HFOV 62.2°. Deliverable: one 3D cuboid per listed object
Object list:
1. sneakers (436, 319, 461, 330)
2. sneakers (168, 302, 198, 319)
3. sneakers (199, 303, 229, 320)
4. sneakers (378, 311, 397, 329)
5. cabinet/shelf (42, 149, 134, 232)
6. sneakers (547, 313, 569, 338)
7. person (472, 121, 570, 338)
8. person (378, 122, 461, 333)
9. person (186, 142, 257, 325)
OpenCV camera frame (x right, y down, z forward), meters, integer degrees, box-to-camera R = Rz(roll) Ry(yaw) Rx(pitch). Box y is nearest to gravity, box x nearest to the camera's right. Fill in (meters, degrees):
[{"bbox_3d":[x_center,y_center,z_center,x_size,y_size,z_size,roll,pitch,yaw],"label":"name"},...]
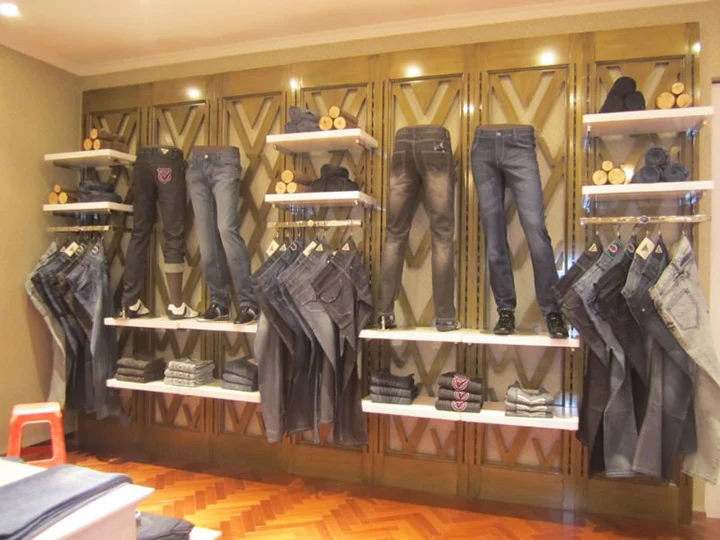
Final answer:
[{"bbox_3d":[0.715,0.440,4.811,0.178,0.085,0.082,-3,-1,-4],"label":"sneakers"},{"bbox_3d":[-1.646,0.374,5.552,0.127,0.115,0.251,1,3,38],"label":"sneakers"},{"bbox_3d":[-1.301,0.393,5.385,0.288,0.134,0.116,2,-2,-14],"label":"sneakers"},{"bbox_3d":[0.224,0.410,4.939,0.141,0.141,0.103,8,-10,-44],"label":"sneakers"},{"bbox_3d":[-2.660,-0.770,5.831,0.453,0.678,0.814,3,1,8],"label":"cabinet/shelf"},{"bbox_3d":[1.514,0.420,4.561,0.156,0.170,0.132,2,11,11],"label":"sneakers"},{"bbox_3d":[1.238,-0.320,4.680,0.795,1.603,0.418,5,11,26],"label":"person"},{"bbox_3d":[0.479,-0.344,4.839,0.624,1.611,0.401,0,10,3],"label":"person"},{"bbox_3d":[-1.221,-0.323,5.305,0.536,1.534,0.664,-3,11,-16],"label":"person"}]
